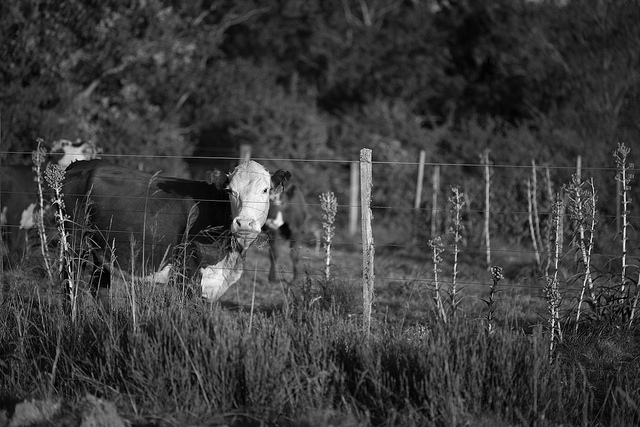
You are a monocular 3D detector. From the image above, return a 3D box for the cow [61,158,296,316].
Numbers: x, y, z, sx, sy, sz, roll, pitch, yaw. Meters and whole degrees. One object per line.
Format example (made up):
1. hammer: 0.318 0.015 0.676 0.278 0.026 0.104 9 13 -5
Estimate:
1. cow: -1.723 0.218 8.205 2.343 1.739 1.008 6 -1 6
